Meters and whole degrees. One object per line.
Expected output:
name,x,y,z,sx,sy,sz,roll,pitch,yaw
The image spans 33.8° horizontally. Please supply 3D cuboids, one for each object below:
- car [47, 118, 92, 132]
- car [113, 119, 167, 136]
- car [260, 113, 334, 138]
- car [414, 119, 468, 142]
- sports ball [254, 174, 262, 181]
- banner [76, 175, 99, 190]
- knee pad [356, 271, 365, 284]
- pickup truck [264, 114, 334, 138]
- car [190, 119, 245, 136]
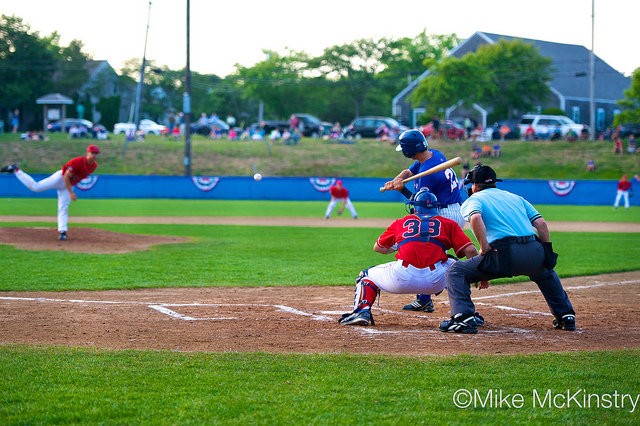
car,-12.587,-4.453,52.362,1.982,0.573,0.829,-3,5,-17
car,-10.260,-5.012,60.056,2.833,0.831,1.195,2,4,-4
car,-1.326,-4.841,60.309,4.071,1.330,1.749,-1,8,5
car,6.493,-4.275,54.325,2.366,1.123,1.352,1,2,-3
sports ball,-2.966,-1.661,49.973,0.301,0.271,0.579,1,2,-4
banner,-10.387,-1.361,46.715,0.771,0.657,1.312,2,2,3
knee pad,1.013,1.588,26.121,0.184,0.296,0.354,1,2,-2
pickup truck,-1.093,-4.953,60.072,3.792,1.355,1.917,1,2,0
car,-6.037,-4.864,60.146,2.430,0.704,1.308,4,7,-7
